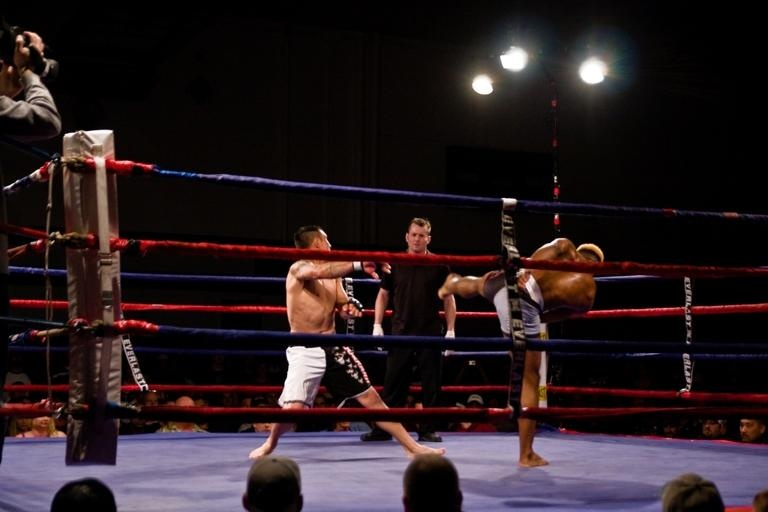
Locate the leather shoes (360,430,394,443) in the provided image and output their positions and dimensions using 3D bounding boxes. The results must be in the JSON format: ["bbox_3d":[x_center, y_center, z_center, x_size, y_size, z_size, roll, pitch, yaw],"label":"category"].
[{"bbox_3d":[-0.079,1.579,7.226,0.331,0.107,0.105,6,-13,-12],"label":"leather shoes"}]

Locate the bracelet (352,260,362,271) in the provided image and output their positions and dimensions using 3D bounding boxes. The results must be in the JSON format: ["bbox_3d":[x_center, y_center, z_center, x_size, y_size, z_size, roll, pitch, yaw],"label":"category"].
[{"bbox_3d":[-0.179,0.060,5.537,0.068,0.059,0.064,2,-16,-6],"label":"bracelet"}]

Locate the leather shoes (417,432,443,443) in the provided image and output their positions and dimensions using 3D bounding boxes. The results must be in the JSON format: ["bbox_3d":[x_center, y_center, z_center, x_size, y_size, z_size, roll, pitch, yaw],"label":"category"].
[{"bbox_3d":[0.392,1.555,7.061,0.225,0.119,0.075,-2,-8,4],"label":"leather shoes"}]

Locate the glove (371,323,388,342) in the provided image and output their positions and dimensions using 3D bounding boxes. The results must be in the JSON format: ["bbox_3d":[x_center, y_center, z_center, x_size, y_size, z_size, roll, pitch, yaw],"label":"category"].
[{"bbox_3d":[-0.051,0.635,6.895,0.168,0.182,0.206,1,-13,-4],"label":"glove"}]

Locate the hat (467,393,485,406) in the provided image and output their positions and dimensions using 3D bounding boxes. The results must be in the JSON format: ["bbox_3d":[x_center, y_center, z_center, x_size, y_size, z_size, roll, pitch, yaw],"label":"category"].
[{"bbox_3d":[0.932,1.470,8.467,0.136,0.059,0.184,0,-15,9],"label":"hat"}]
